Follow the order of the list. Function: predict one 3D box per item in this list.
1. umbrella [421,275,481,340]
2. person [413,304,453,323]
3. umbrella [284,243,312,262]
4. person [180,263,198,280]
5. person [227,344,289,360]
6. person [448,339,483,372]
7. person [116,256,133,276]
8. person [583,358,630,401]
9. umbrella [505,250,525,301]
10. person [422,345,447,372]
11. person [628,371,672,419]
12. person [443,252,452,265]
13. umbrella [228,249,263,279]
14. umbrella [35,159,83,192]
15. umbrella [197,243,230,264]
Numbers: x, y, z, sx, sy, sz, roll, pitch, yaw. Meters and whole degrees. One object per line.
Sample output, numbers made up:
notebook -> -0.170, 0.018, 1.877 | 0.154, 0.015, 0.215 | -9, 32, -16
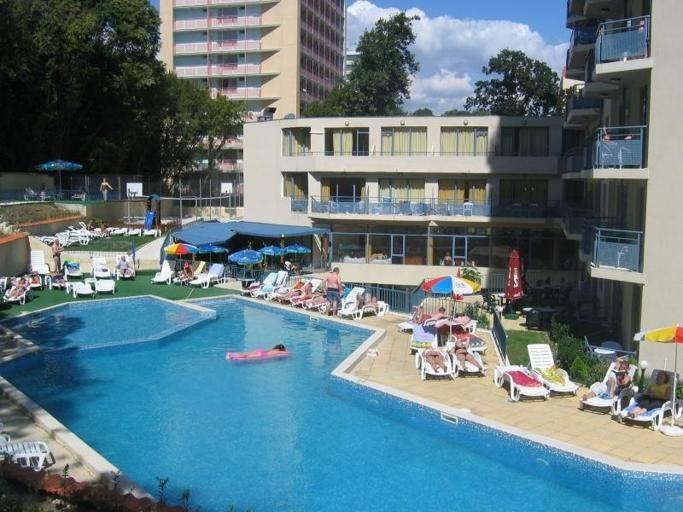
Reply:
umbrella -> 4.227, 1.890, 27.242 | 1.705, 1.258, 1.824 | 14, 17, 33
person -> 3.710, 2.415, 27.110 | 1.062, 0.530, 0.893 | -4, 0, -15
umbrella -> -2.731, 0.048, 40.596 | 1.148, 0.978, 1.247 | 5, 9, 24
person -> -8.797, 0.878, 38.961 | 0.738, 1.206, 0.531 | -9, -23, 32
person -> -3.131, 3.630, 25.507 | 2.309, 0.516, 1.069 | 2, 2, -7
person -> 4.144, 3.400, 22.657 | 0.918, 1.065, 1.248 | 0, 2, -37
person -> -13.008, 0.571, 40.457 | 0.739, 0.822, 1.612 | -4, 13, -18
person -> 7.693, 3.623, 19.503 | 0.740, 0.935, 2.103 | -3, 7, 37
umbrella -> 8.076, 0.943, 31.585 | 0.734, 2.449, 2.764 | 2, 2, 14
person -> 3.132, 3.420, 22.281 | 0.702, 0.687, 0.456 | 2, 2, 4
person -> 8.462, 3.916, 18.582 | 0.692, 0.763, 1.682 | -4, 14, 44
person -> 6.961, 0.134, 44.324 | 0.666, 1.195, 0.615 | 2, 11, 12
umbrella -> -5.310, 0.642, 38.516 | 1.798, 1.951, 1.846 | 12, 16, 39
umbrella -> -22.706, -5.918, 54.772 | 3.032, 3.117, 3.133 | -3, 12, -41
umbrella -> -7.914, 0.041, 41.715 | 1.374, 1.010, 1.502 | 5, 16, 15
